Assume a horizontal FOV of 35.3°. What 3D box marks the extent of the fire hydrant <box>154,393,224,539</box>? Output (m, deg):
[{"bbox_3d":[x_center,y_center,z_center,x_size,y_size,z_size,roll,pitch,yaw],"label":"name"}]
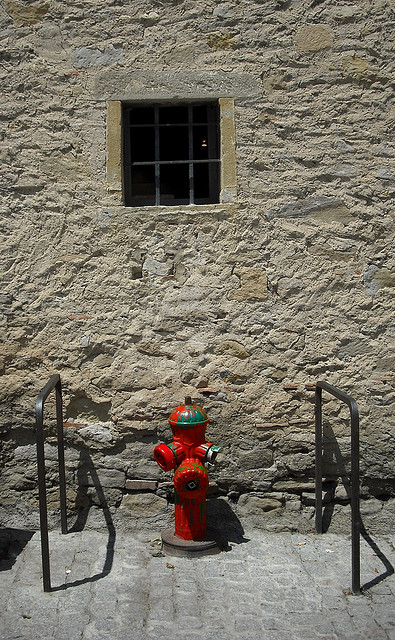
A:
[{"bbox_3d":[-0.070,0.885,3.684,0.361,0.861,0.463,1,8,-4],"label":"fire hydrant"}]
